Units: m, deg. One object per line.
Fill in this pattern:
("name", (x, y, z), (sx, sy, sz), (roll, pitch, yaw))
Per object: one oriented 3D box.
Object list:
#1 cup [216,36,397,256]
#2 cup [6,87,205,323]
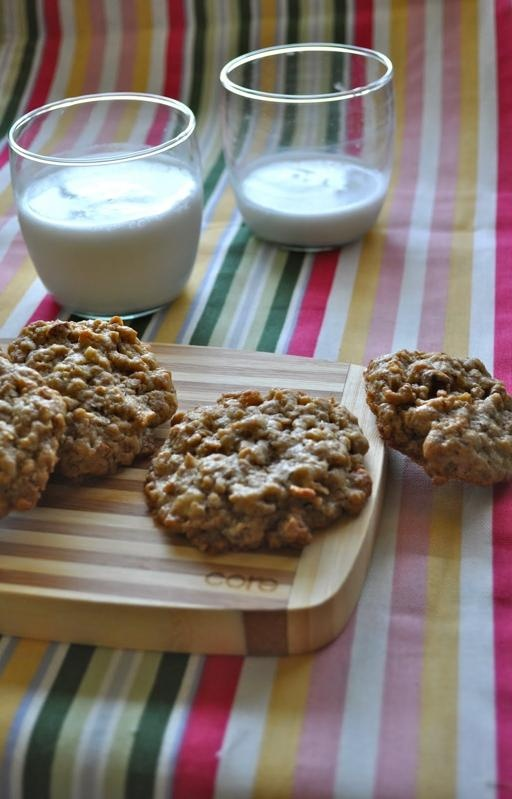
("cup", (0.082, -0.435, 1.313), (0.335, 0.311, 0.363), (-3, 40, 3))
("cup", (-0.230, -0.309, 1.153), (0.274, 0.335, 0.379), (0, 20, -8))
